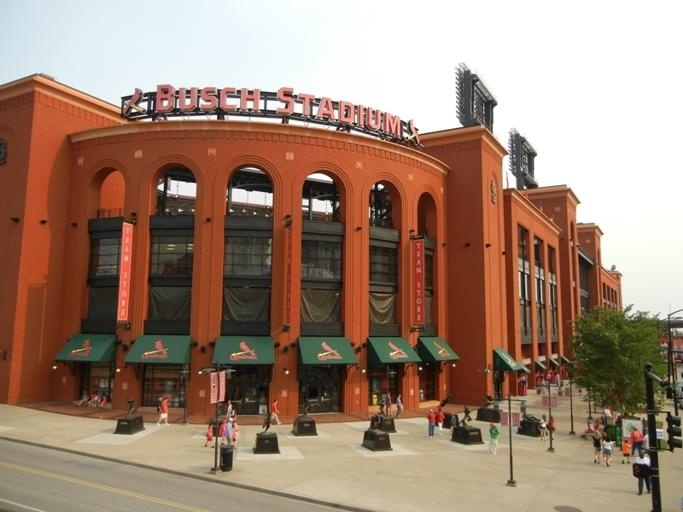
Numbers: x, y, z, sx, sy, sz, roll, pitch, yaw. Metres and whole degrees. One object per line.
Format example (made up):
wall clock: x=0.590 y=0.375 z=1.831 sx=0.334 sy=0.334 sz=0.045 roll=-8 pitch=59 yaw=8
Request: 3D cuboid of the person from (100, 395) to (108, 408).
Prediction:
person: x=-19.908 y=12.146 z=50.271 sx=0.618 sy=0.890 sz=0.812 roll=2 pitch=0 yaw=-6

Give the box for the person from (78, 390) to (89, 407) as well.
person: x=-21.859 y=11.974 z=50.708 sx=0.883 sy=1.224 sz=1.382 roll=2 pitch=0 yaw=-22

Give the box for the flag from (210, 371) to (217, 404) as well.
flag: x=-7.976 y=8.203 z=37.571 sx=0.395 sy=1.696 sz=0.853 roll=2 pitch=-1 yaw=-8

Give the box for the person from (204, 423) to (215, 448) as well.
person: x=-8.836 y=11.803 z=40.012 sx=0.469 sy=1.303 sz=1.687 roll=2 pitch=0 yaw=-10

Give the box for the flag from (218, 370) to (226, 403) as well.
flag: x=-7.743 y=8.325 z=38.523 sx=0.343 sy=1.714 sz=0.713 roll=2 pitch=-1 yaw=-16

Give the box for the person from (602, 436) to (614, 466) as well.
person: x=17.215 y=12.488 z=39.000 sx=0.557 sy=2.098 sz=1.457 roll=1 pitch=-1 yaw=22

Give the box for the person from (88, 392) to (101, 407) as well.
person: x=-20.764 y=12.106 z=50.301 sx=0.957 sy=1.098 sz=1.453 roll=2 pitch=0 yaw=-26
